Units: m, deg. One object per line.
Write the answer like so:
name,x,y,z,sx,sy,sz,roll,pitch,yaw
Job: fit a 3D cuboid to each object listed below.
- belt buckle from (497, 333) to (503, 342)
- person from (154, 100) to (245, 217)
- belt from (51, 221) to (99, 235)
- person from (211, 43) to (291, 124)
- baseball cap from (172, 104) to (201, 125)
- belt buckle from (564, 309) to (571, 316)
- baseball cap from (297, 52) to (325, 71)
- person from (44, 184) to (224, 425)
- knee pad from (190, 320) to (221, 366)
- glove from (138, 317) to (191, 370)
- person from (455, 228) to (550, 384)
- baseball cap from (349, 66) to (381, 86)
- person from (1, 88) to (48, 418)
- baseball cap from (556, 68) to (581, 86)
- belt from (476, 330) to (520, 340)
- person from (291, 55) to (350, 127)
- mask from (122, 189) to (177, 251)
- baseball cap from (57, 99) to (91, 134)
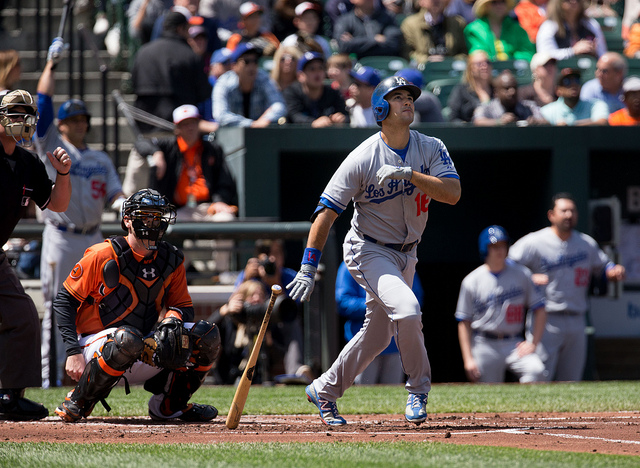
belt buckle,1.778,1.010,13.116,0.055,0.109,0.059,4,-7,-4
person,-1.320,-0.726,13.545,0.942,1.308,1.012,-1,-2,36
belt,-2.261,-0.054,12.416,0.193,0.053,0.200,9,-3,35
person,-0.821,-1.534,14.273,0.790,1.151,1.089,1,-4,-19
baseball cap,-1.376,-1.285,13.675,0.313,0.246,0.535,0,-6,-5
belt buckle,2.510,0.790,13.464,0.062,0.051,0.051,-1,2,-27
baseball cap,-0.118,-1.855,14.127,0.235,0.189,0.396,3,6,-5
person,-1.412,0.559,10.307,1.257,1.852,1.144,0,1,-10
knee pad,-0.895,0.849,10.255,0.231,0.330,0.137,1,1,-11
glove,-1.181,0.783,10.250,0.423,0.422,0.347,-2,8,-31
person,1.787,0.694,13.075,0.879,1.523,0.451,1,1,3
baseball cap,0.500,-1.727,14.286,0.316,0.186,0.231,17,10,-12
person,-2.306,0.146,10.342,0.376,2.562,0.264,1,1,-12
baseball cap,2.696,-1.743,14.414,0.236,0.213,0.360,1,0,9
belt,1.756,0.994,13.104,0.426,0.081,0.104,1,0,1
person,0.015,-1.551,14.450,0.499,0.626,0.805,-3,13,-22
mask,-1.327,-0.117,10.311,0.412,0.473,0.304,1,1,-12
baseball cap,-2.295,-1.134,12.416,0.293,0.304,0.498,1,0,-11
